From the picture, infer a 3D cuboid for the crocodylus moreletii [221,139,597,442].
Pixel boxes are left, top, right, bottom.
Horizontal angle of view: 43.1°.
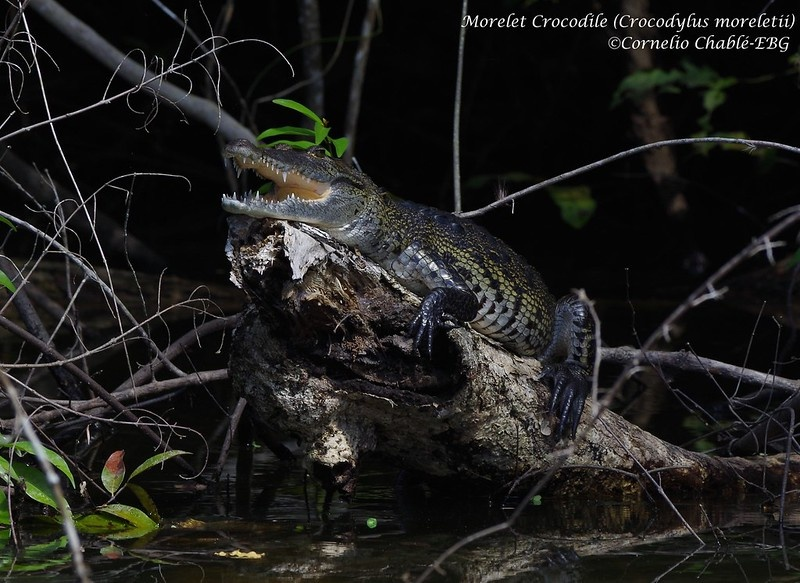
[{"bbox_3d":[0.171,-0.224,6.485,2.443,0.762,1.956,20,5,-24],"label":"crocodylus moreletii"}]
